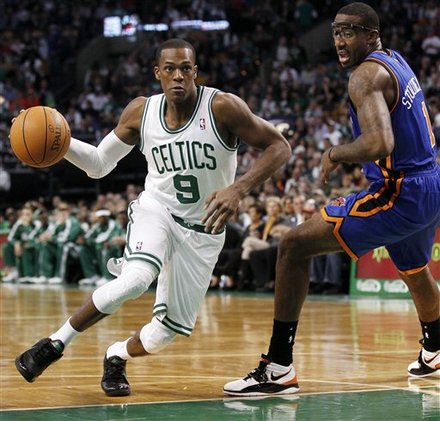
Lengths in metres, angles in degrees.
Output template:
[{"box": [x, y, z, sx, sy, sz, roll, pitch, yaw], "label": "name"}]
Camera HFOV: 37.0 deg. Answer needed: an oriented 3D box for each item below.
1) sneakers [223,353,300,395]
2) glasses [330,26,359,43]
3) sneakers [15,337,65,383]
[{"box": [0.250, 0.908, 3.589, 0.486, 0.201, 0.158, 1, -6, -6], "label": "sneakers"}, {"box": [0.665, -0.934, 3.450, 0.122, 0.057, 0.035, -2, 1, 28], "label": "glasses"}, {"box": [-0.905, 0.738, 3.268, 0.273, 0.153, 0.080, -38, 7, -28], "label": "sneakers"}]
